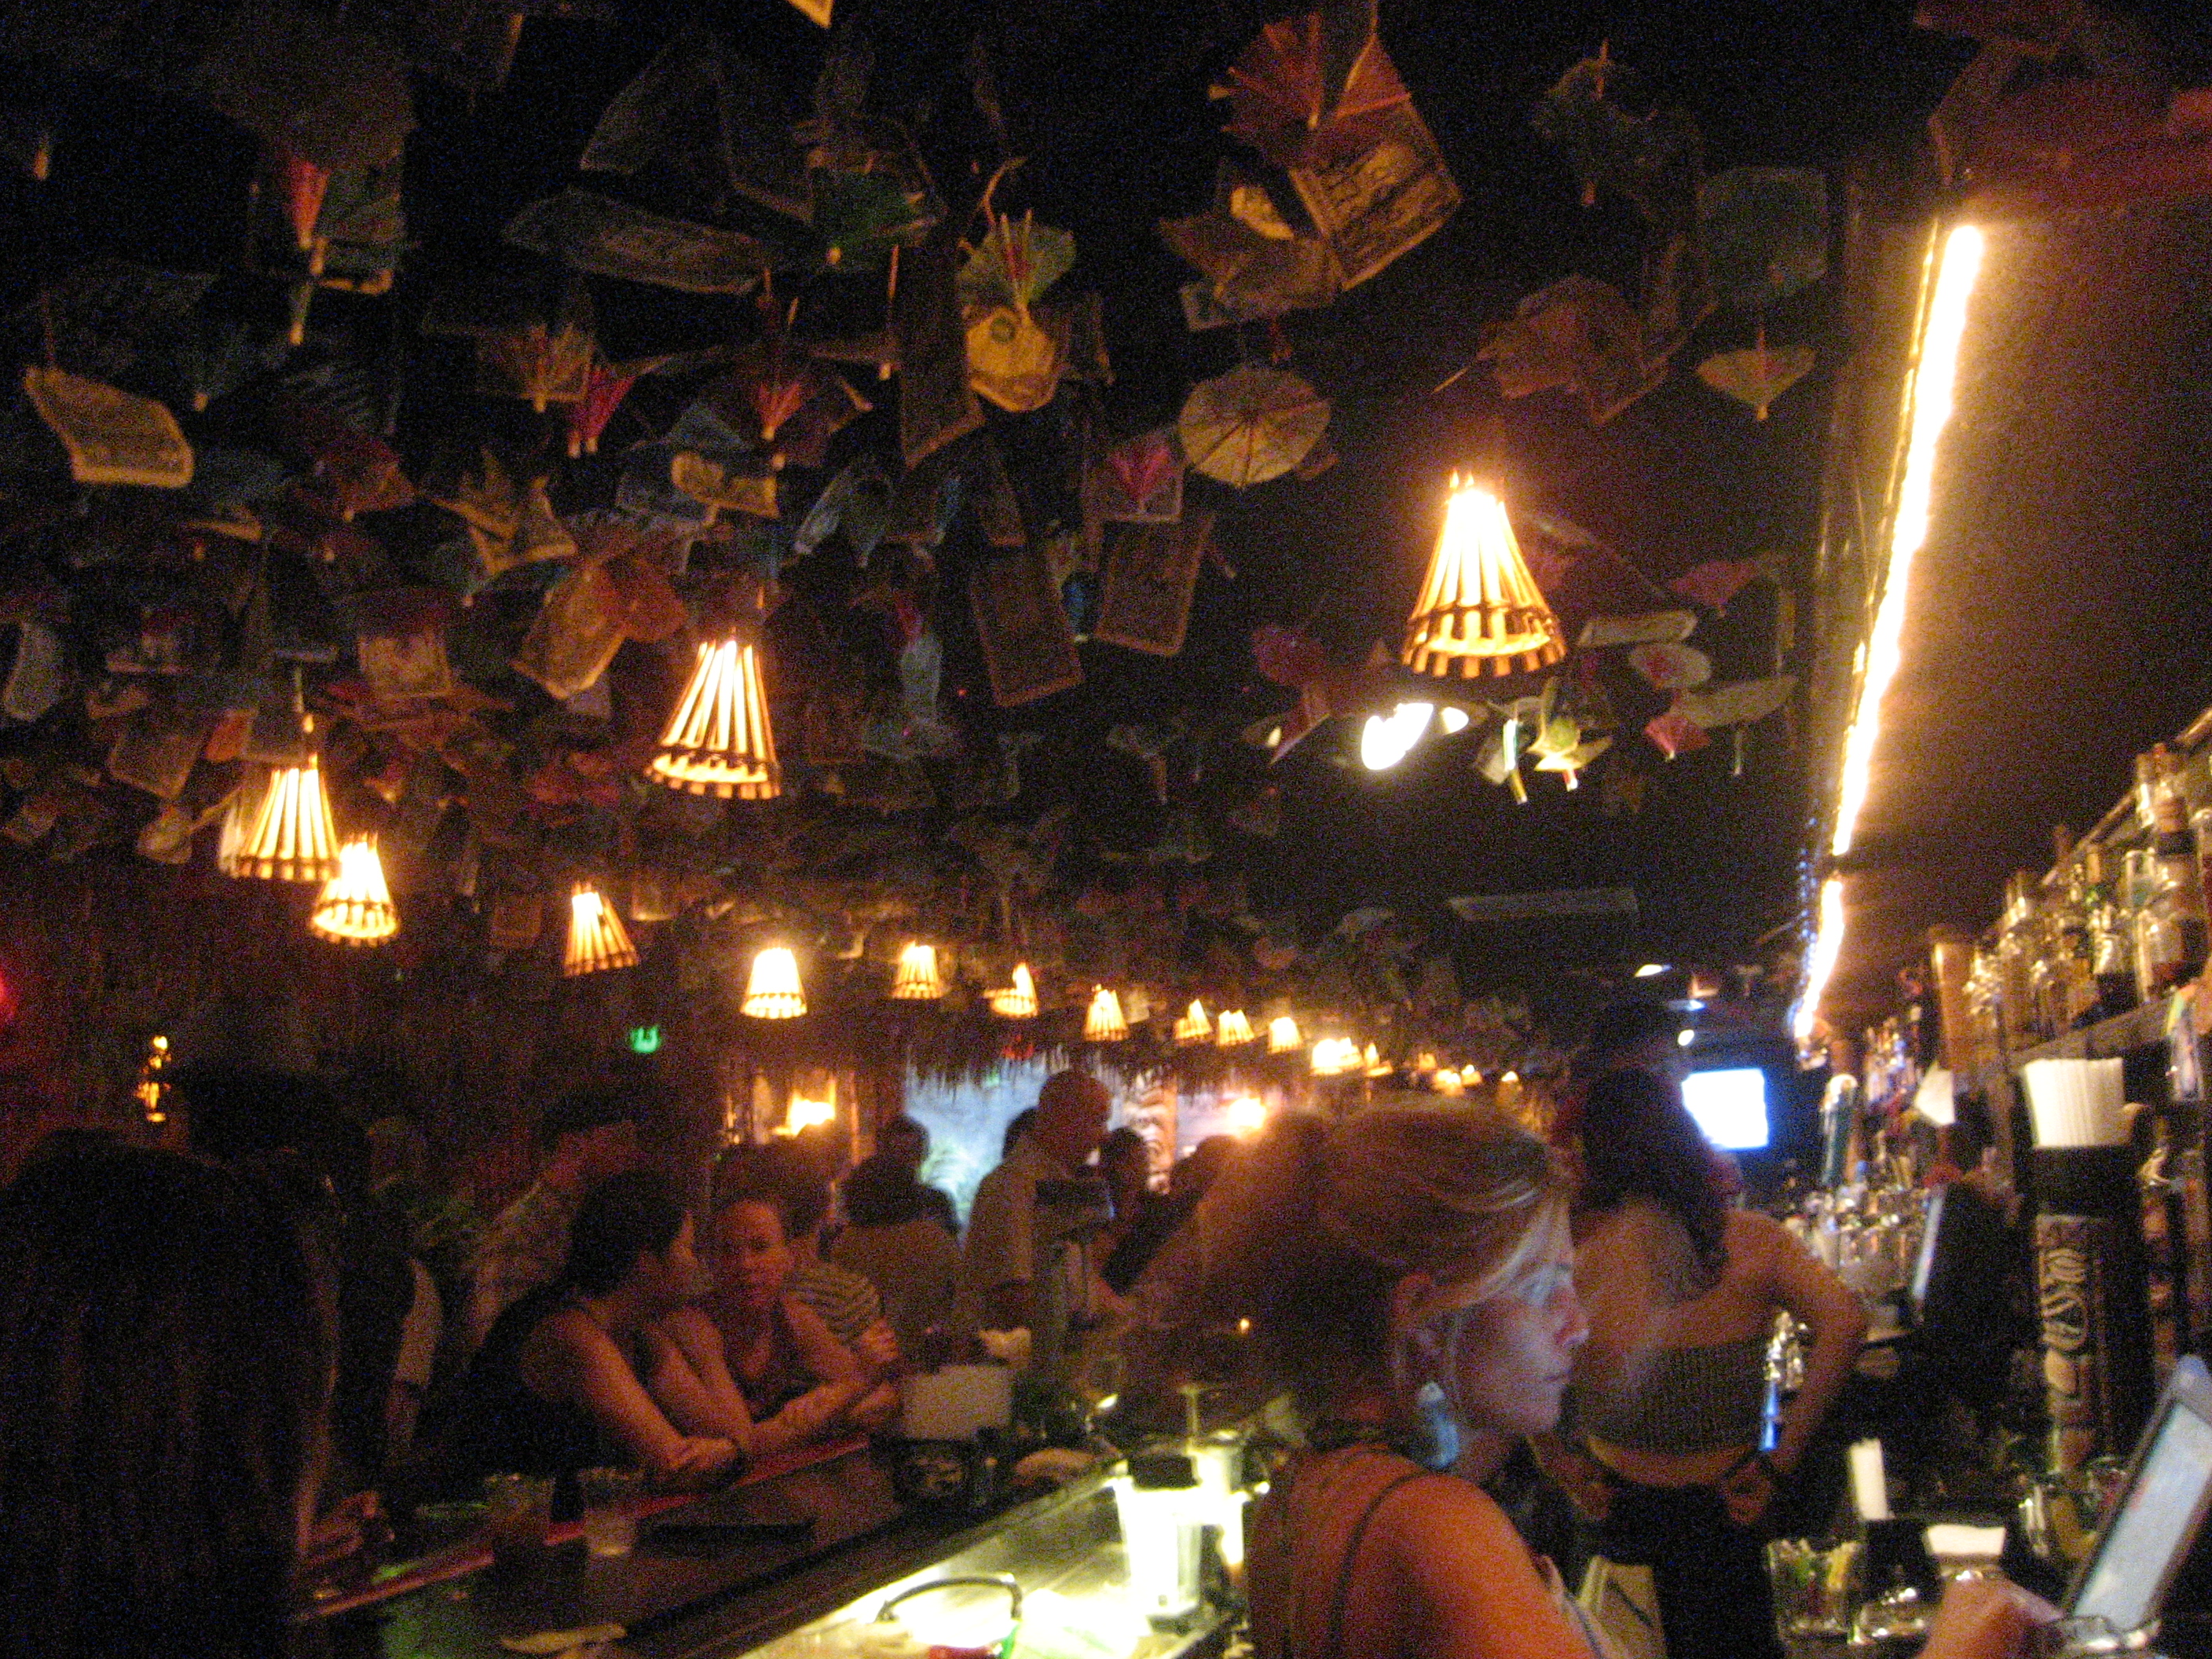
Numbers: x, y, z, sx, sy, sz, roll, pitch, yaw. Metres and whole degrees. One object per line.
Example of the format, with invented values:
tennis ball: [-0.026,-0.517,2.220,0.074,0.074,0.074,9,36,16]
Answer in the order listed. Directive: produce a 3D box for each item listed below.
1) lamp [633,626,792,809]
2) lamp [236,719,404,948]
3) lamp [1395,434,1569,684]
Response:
lamp: [-0.879,-0.281,4.705,0.268,0.346,0.338,3,-11,-11]
lamp: [-2.405,-0.087,6.142,0.315,0.482,0.412,6,-6,-15]
lamp: [0.909,-0.680,5.012,0.365,0.560,0.428,-2,-11,10]
